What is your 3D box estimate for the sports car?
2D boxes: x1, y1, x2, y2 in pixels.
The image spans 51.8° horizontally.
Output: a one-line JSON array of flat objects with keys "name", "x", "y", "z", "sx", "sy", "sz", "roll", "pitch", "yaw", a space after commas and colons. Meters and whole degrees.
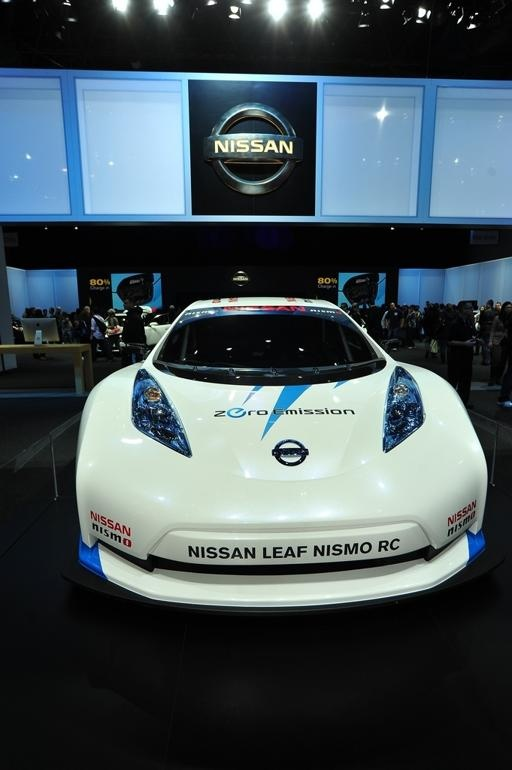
[{"name": "sports car", "x": 0.118, "y": 0.178, "z": 2.429, "sx": 0.950, "sy": 0.622, "sz": 1.821, "roll": 0, "pitch": 6, "yaw": 1}]

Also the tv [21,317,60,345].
[{"name": "tv", "x": -2.915, "y": -0.802, "z": 7.242, "sx": 0.609, "sy": 0.497, "sz": 0.294, "roll": 0, "pitch": 7, "yaw": 1}]
